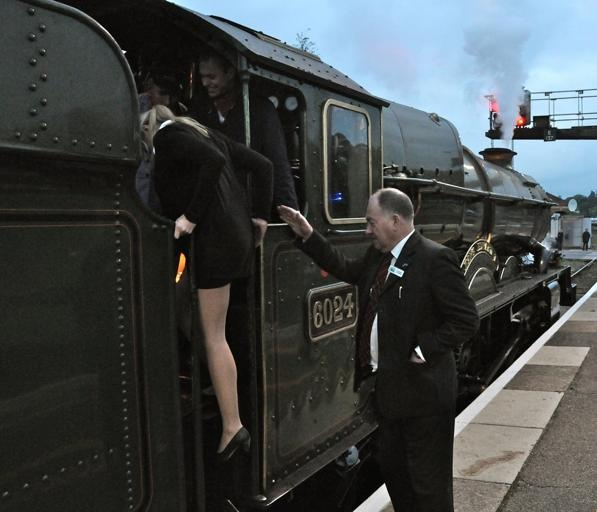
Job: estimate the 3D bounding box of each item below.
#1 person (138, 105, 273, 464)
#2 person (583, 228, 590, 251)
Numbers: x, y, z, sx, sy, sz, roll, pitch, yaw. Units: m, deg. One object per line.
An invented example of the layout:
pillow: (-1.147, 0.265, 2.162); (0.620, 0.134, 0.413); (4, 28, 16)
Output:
person: (-0.427, 0.189, 2.699); (0.656, 1.906, 0.548); (-4, 5, -41)
person: (19.193, -1.012, 34.334); (0.369, 1.361, 1.597); (1, 5, 30)
